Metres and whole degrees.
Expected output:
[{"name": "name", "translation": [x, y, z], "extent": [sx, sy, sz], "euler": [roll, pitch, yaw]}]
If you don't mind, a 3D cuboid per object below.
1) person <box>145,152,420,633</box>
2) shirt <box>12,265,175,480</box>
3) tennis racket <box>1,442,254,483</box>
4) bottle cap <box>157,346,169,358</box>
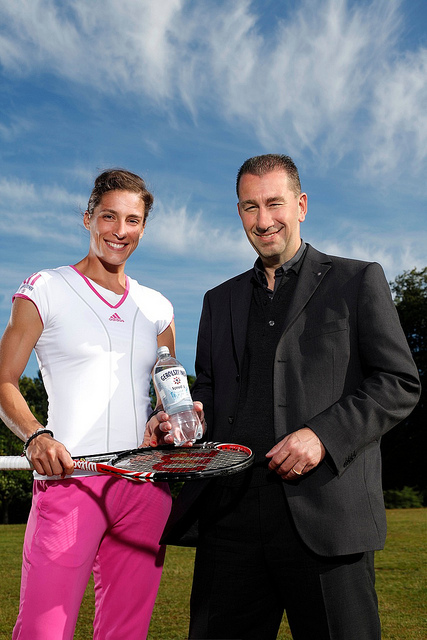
[{"name": "person", "translation": [0.386, 0.363, 2.807], "extent": [0.713, 2.705, 1.279], "euler": [6, -7, -42]}, {"name": "shirt", "translation": [-0.660, 0.267, 3.130], "extent": [1.029, 1.109, 0.442], "euler": [4, -4, -33]}, {"name": "tennis racket", "translation": [-0.454, 0.646, 2.421], "extent": [1.364, 0.062, 0.394], "euler": [0, 8, 2]}, {"name": "bottle cap", "translation": [-0.282, 0.180, 2.941], "extent": [0.062, 0.051, 0.059], "euler": [-11, -14, -4]}]
